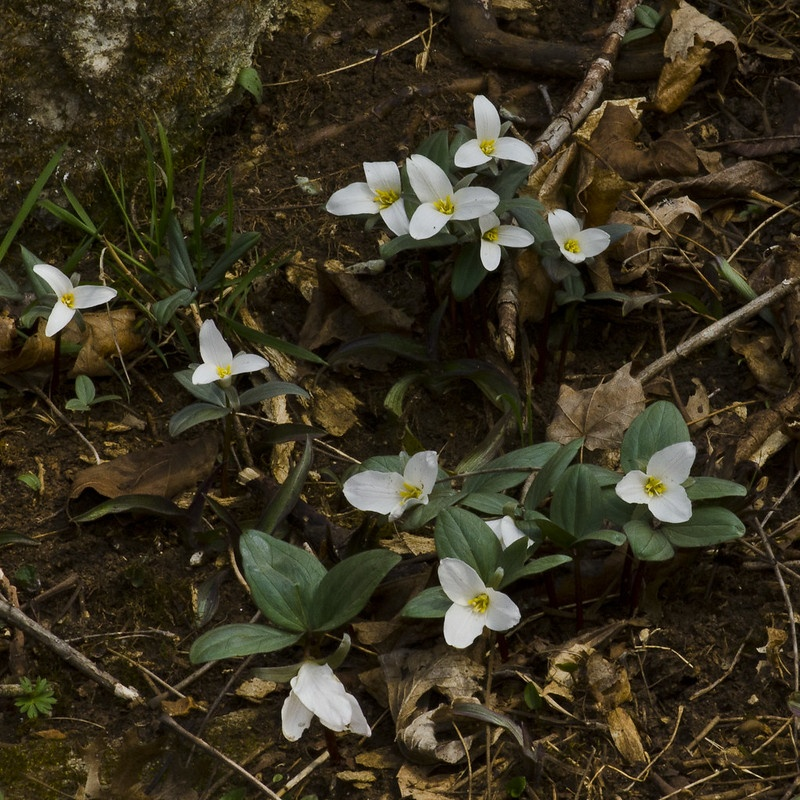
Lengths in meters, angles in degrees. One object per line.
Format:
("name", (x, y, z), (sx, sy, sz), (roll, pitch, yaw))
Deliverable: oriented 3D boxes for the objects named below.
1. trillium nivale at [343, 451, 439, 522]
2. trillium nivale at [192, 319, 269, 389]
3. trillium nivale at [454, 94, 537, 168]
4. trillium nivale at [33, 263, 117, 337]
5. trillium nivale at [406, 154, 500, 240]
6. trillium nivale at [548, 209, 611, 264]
("trillium nivale", (-0.009, 0.233, 2.209), (0.274, 0.097, 0.158), (-18, 48, 9))
("trillium nivale", (-0.518, -0.114, 2.406), (0.253, 0.249, 0.100), (-14, 67, -16))
("trillium nivale", (0.279, -0.841, 2.665), (0.309, 0.087, 0.256), (-3, 65, -10))
("trillium nivale", (-1.007, -0.319, 2.616), (0.291, 0.215, 0.084), (14, 86, 26))
("trillium nivale", (0.162, -0.620, 2.576), (0.216, 0.225, 0.073), (-18, 88, 17))
("trillium nivale", (0.553, -0.546, 2.722), (0.186, 0.180, 0.074), (1, 76, 0))
